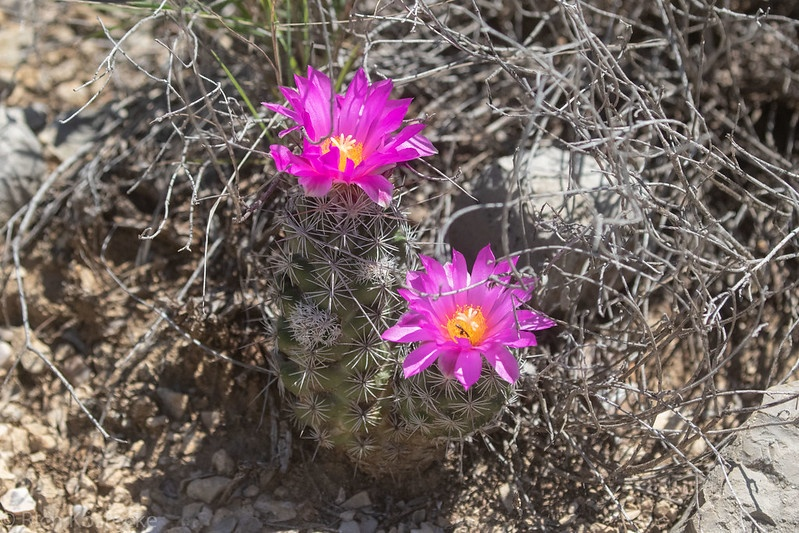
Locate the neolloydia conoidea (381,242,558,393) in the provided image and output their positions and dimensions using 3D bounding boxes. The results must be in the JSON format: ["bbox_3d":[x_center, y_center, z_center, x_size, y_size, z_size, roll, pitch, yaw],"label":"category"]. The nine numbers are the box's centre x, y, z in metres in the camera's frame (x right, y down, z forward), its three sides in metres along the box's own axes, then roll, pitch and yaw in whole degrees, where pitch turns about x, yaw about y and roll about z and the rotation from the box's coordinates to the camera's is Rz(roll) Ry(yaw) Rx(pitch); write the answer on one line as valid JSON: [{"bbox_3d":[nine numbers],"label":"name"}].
[{"bbox_3d":[0.223,0.153,2.531,0.474,0.544,0.282,26,116,38],"label":"neolloydia conoidea"}]

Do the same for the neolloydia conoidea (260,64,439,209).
[{"bbox_3d":[-0.215,-0.479,2.765,0.673,0.784,0.376,6,109,26],"label":"neolloydia conoidea"}]
